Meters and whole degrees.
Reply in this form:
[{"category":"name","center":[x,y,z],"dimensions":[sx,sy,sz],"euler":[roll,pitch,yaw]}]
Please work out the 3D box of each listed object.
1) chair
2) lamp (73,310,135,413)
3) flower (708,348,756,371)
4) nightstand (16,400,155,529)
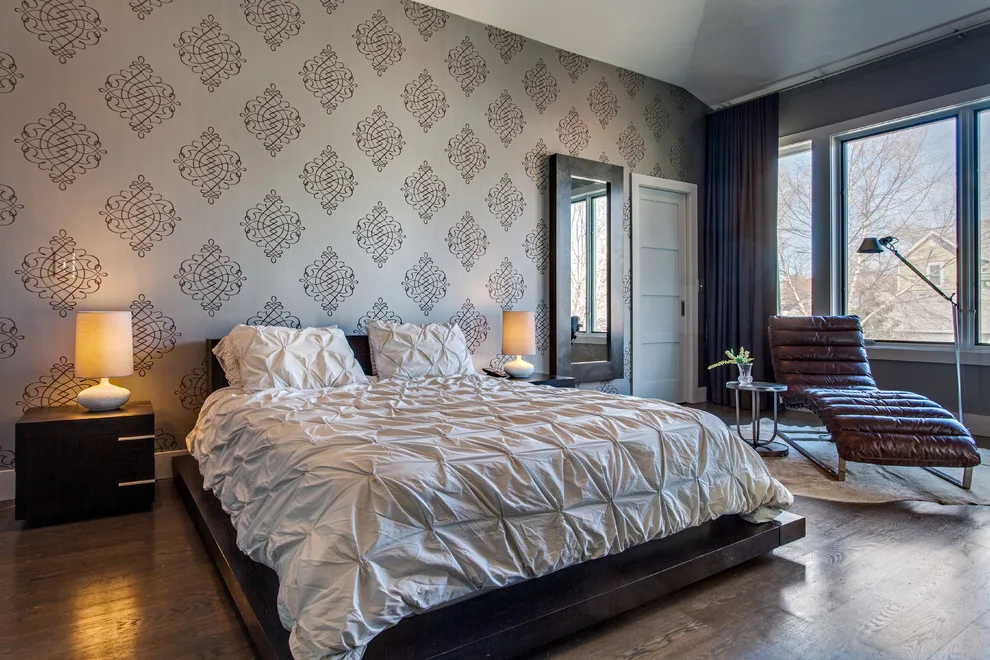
[{"category":"chair","center":[3.031,0.443,5.151],"dimensions":[0.905,1.111,1.830],"euler":[1,-1,2]},{"category":"lamp","center":[-2.693,0.211,4.223],"dimensions":[0.368,0.688,0.258],"euler":[-8,14,-33]},{"category":"flower","center":[2.476,0.303,6.358],"dimensions":[0.312,0.123,0.209],"euler":[-5,2,-21]},{"category":"nightstand","center":[-2.772,0.856,4.321],"dimensions":[0.921,0.895,0.668],"euler":[2,-6,-28]}]
